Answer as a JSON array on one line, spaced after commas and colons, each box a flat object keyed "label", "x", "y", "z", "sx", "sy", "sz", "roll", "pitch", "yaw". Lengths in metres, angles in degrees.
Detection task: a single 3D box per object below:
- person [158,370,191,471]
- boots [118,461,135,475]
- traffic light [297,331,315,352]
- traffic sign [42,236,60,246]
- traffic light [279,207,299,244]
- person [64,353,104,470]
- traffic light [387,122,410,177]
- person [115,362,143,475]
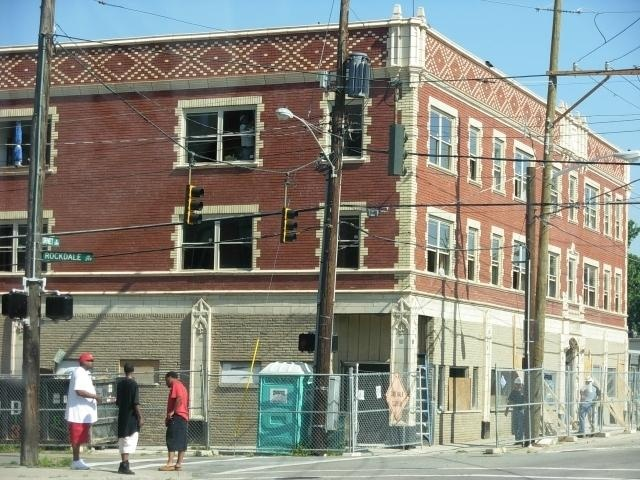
[{"label": "person", "x": -4.300, "y": 5.465, "z": 48.147, "sx": 0.864, "sy": 2.894, "sz": 1.178, "roll": 3, "pitch": -12, "yaw": -11}, {"label": "boots", "x": -5.671, "y": 6.716, "z": 47.341, "sx": 0.465, "sy": 0.386, "sz": 0.410, "roll": 3, "pitch": -13, "yaw": -17}, {"label": "traffic light", "x": -0.511, "y": 3.650, "z": 56.427, "sx": 0.680, "sy": 0.600, "sz": 0.651, "roll": 0, "pitch": -4, "yaw": -2}, {"label": "traffic sign", "x": -8.456, "y": 0.120, "z": 50.746, "sx": 0.498, "sy": 0.438, "sz": 0.897, "roll": 1, "pitch": -13, "yaw": -6}, {"label": "traffic light", "x": -1.056, "y": -0.381, "z": 55.394, "sx": 0.538, "sy": 1.182, "sz": 0.745, "roll": 0, "pitch": -13, "yaw": -2}, {"label": "person", "x": -7.053, "y": 5.135, "z": 48.027, "sx": 0.957, "sy": 3.388, "sz": 1.051, "roll": 2, "pitch": -13, "yaw": -9}, {"label": "traffic light", "x": 2.553, "y": -2.888, "z": 53.772, "sx": 0.532, "sy": 1.803, "sz": 0.821, "roll": 0, "pitch": -13, "yaw": -1}, {"label": "person", "x": -5.631, "y": 5.271, "z": 47.570, "sx": 0.743, "sy": 3.306, "sz": 0.789, "roll": 1, "pitch": -13, "yaw": -7}]
